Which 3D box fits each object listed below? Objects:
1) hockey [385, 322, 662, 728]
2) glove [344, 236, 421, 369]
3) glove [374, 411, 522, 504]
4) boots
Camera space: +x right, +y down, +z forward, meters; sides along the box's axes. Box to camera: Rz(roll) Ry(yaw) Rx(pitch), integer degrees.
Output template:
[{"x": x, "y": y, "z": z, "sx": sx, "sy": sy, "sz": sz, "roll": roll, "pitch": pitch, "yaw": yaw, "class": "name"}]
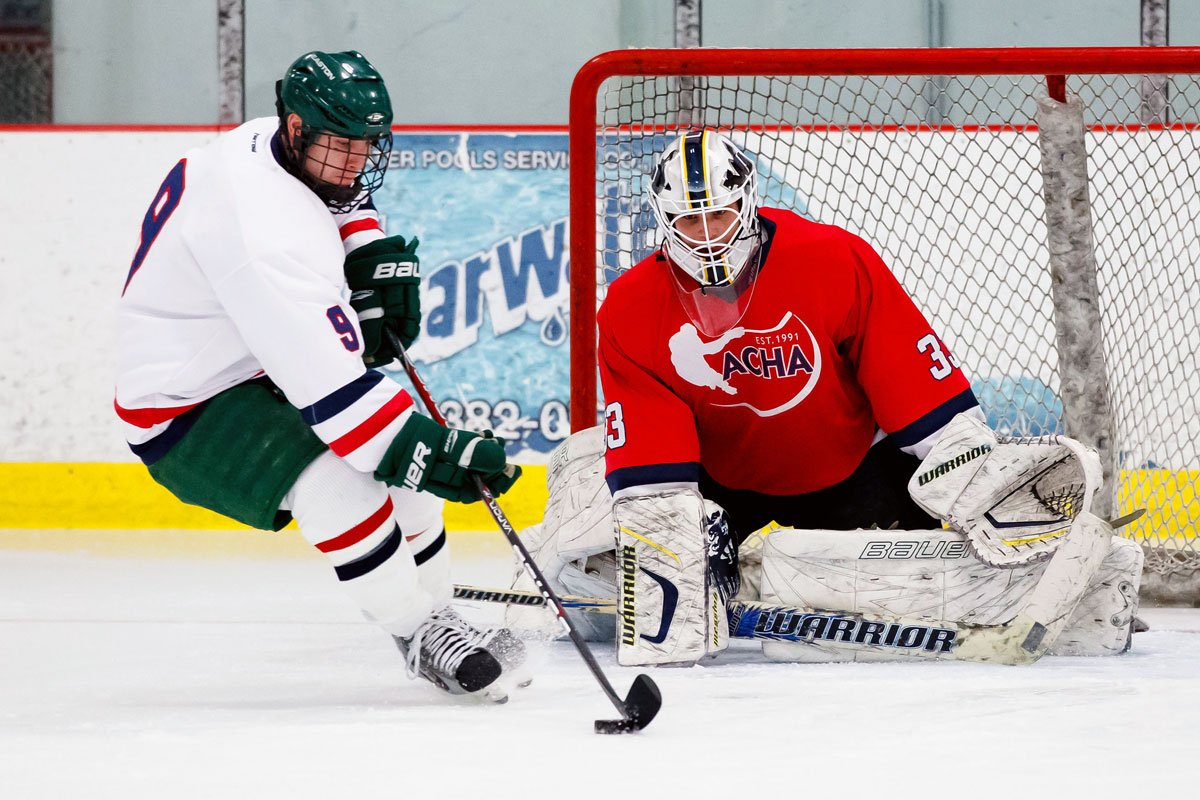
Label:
[{"x": -0.238, "y": 0.449, "z": 5.575, "sx": 0.238, "sy": 0.166, "sz": 1.528, "roll": -9, "pitch": 53, "yaw": -37, "class": "hockey"}, {"x": -0.676, "y": -0.295, "z": 5.248, "sx": 0.287, "sy": 0.356, "sz": 0.145, "roll": -3, "pitch": 12, "yaw": -14, "class": "glove"}, {"x": -0.455, "y": 0.163, "z": 4.996, "sx": 0.429, "sy": 0.272, "sz": 0.140, "roll": -2, "pitch": 11, "yaw": -7, "class": "glove"}, {"x": -0.421, "y": 0.757, "z": 5.030, "sx": 0.191, "sy": 0.155, "sz": 0.364, "roll": -46, "pitch": 24, "yaw": -17, "class": "boots"}]
